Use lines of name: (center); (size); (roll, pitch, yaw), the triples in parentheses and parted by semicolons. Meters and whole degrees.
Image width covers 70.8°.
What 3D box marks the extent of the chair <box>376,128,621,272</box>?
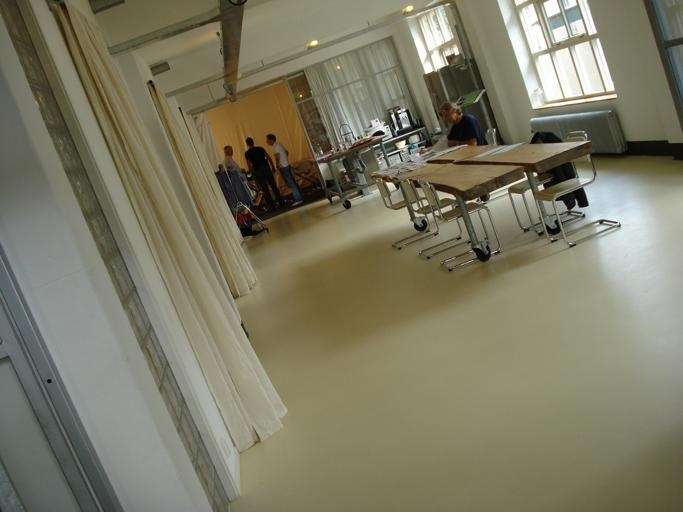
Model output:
chair: (1.645, -0.646, 5.414); (1.589, 0.986, 2.369); (-23, 14, -10)

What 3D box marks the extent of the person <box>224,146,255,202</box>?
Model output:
person: (-2.505, -1.940, 11.503); (0.416, 1.459, 1.420); (-18, 13, -10)

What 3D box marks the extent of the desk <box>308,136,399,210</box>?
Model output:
desk: (0.237, -2.071, 11.803); (1.248, 1.430, 2.105); (-15, 9, -9)

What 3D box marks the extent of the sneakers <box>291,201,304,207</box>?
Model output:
sneakers: (-1.245, -1.470, 13.541); (0.422, 0.221, 0.159); (-3, 10, 1)
